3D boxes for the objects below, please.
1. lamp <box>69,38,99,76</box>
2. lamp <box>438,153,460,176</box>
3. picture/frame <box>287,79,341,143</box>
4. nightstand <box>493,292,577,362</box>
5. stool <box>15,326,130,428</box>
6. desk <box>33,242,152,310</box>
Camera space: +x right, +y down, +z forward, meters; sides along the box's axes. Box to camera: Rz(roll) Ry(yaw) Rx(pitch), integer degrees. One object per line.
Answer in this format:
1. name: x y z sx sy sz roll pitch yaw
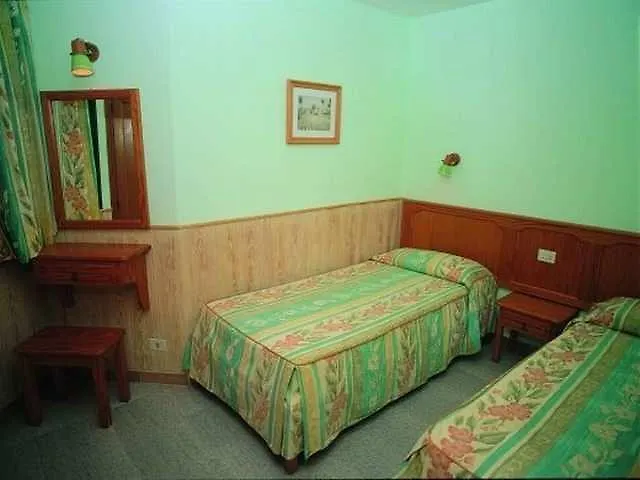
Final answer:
1. lamp: -1.611 -1.252 3.006 0.184 0.262 0.282 -5 14 -18
2. lamp: 1.269 -0.732 4.354 0.095 0.225 0.179 4 53 -32
3. picture/frame: -0.065 -1.148 3.884 0.550 0.502 0.043 -7 12 -39
4. nightstand: 1.842 0.783 3.884 0.483 0.633 0.502 17 26 38
5. stool: -1.814 1.071 3.215 0.618 0.589 0.674 7 -20 -43
6. desk: -1.675 0.340 3.259 0.705 0.560 0.407 2 13 0
